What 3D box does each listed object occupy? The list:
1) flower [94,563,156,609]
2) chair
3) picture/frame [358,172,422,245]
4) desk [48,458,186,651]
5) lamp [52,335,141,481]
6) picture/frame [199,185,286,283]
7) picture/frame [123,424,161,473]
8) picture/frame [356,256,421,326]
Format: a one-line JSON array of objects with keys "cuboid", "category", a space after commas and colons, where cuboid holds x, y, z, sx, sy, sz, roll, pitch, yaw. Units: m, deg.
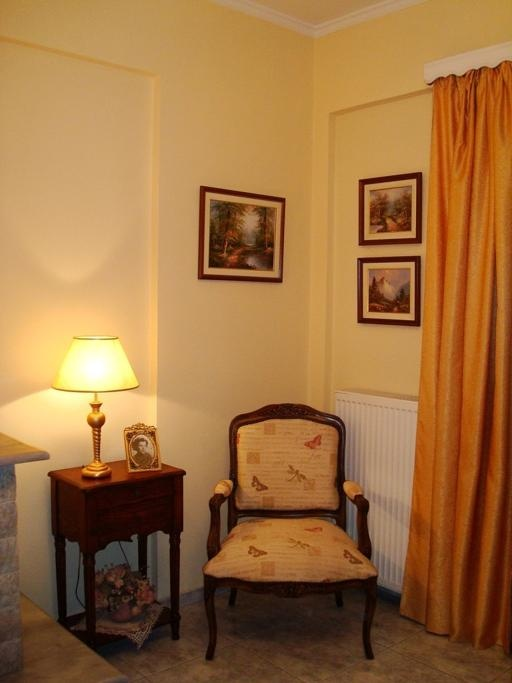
[{"cuboid": [-0.580, 1.034, 2.467, 0.168, 0.083, 0.203, 2, -2, -4], "category": "flower"}, {"cuboid": [0.150, 0.819, 2.634, 0.712, 1.011, 0.857, 0, -2, 1], "category": "chair"}, {"cuboid": [0.716, -0.706, 2.989, 0.030, 0.388, 0.401, -5, 7, -37], "category": "picture/frame"}, {"cuboid": [-0.586, 0.923, 2.416, 0.518, 0.770, 0.409, 2, -3, -43], "category": "desk"}, {"cuboid": [-0.688, 0.259, 2.348, 0.319, 0.584, 0.380, 2, -3, -38], "category": "lamp"}, {"cuboid": [-0.094, -0.578, 3.015, 0.556, 0.481, 0.020, -1, 3, -43], "category": "picture/frame"}, {"cuboid": [-0.498, 0.467, 2.455, 0.189, 0.260, 0.030, 5, -26, -41], "category": "picture/frame"}, {"cuboid": [0.717, -0.270, 3.019, 0.026, 0.362, 0.352, -2, 7, -35], "category": "picture/frame"}]
